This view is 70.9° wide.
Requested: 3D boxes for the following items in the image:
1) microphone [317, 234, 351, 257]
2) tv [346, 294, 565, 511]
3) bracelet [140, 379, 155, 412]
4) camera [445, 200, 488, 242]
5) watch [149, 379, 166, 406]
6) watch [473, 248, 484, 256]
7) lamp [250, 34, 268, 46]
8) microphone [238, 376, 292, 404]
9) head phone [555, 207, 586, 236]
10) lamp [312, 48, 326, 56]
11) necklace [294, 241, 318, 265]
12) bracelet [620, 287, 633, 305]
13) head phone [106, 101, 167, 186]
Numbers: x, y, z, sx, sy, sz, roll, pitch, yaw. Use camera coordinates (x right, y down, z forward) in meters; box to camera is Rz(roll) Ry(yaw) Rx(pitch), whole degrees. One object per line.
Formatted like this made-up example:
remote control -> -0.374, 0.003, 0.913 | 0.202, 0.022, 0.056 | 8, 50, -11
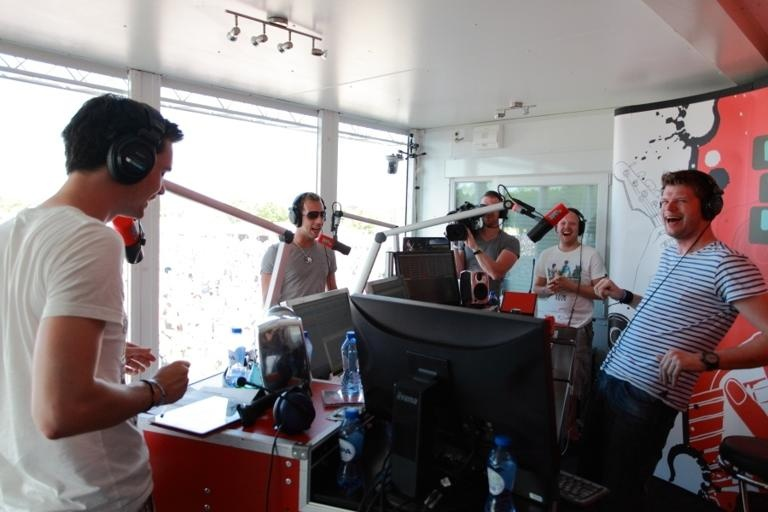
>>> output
microphone -> -0.366, -0.077, 3.885 | 0.191, 0.063, 0.189 | 26, -21, -19
tv -> 0.260, 0.621, 2.184 | 0.748, 0.733, 0.253 | 10, 29, 34
bracelet -> -0.878, 0.519, 2.037 | 0.069, 0.101, 0.107 | 5, 6, -23
camera -> 0.580, -0.213, 3.886 | 0.181, 0.401, 0.243 | 1, 7, 17
watch -> -0.855, 0.510, 2.056 | 0.064, 0.095, 0.098 | 3, 30, -28
watch -> 0.780, -0.039, 4.460 | 0.073, 0.045, 0.073 | -7, -2, 9
lamp -> -0.881, -1.522, 3.786 | 0.044, 0.097, 0.118 | -19, 1, -39
microphone -> -0.552, 0.593, 2.403 | 0.104, 0.063, 0.180 | -12, -27, 33
head phone -> 1.492, -0.273, 4.334 | 0.291, 0.276, 0.113 | 6, 0, 42
lamp -> -0.483, -1.502, 3.989 | 0.069, 0.034, 0.094 | 3, 0, 9
necklace -> -0.547, -0.039, 4.021 | 0.217, 0.140, 0.233 | 11, 23, -11
bracelet -> 1.487, 0.239, 3.292 | 0.079, 0.104, 0.097 | 2, -3, 14
head phone -> -0.967, -0.438, 2.205 | 0.156, 0.355, 0.372 | 21, -14, -24
